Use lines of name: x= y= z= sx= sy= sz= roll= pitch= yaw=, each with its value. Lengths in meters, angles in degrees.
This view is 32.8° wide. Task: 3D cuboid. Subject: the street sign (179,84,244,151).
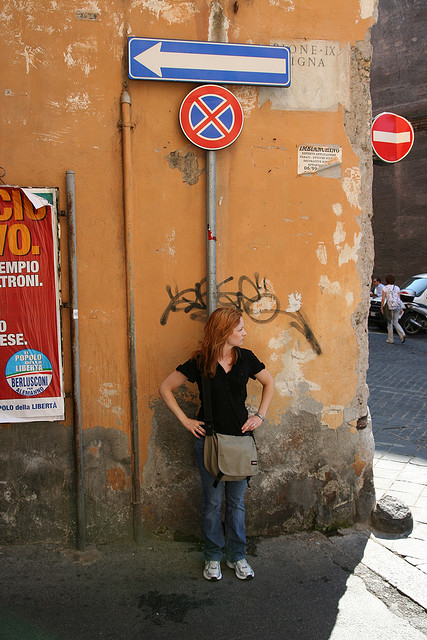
street sign: x=-0.031 y=-1.266 z=4.447 sx=0.372 sy=0.408 sz=0.008 roll=-2 pitch=12 yaw=-4

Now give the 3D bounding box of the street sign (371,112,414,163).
street sign: x=1.442 y=-1.503 z=5.890 sx=0.415 sy=0.410 sz=0.315 roll=-1 pitch=6 yaw=-9

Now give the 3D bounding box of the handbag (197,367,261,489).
handbag: x=0.094 y=0.619 z=4.194 sx=0.291 sy=0.710 sz=0.187 roll=9 pitch=-28 yaw=-19

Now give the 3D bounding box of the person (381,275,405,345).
person: x=3.381 y=-0.214 z=13.572 sx=0.404 sy=1.330 sz=0.888 roll=2 pitch=6 yaw=20

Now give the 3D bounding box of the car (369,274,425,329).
car: x=3.967 y=-0.411 z=15.386 sx=1.470 sy=0.848 sz=0.928 roll=1 pitch=1 yaw=4
